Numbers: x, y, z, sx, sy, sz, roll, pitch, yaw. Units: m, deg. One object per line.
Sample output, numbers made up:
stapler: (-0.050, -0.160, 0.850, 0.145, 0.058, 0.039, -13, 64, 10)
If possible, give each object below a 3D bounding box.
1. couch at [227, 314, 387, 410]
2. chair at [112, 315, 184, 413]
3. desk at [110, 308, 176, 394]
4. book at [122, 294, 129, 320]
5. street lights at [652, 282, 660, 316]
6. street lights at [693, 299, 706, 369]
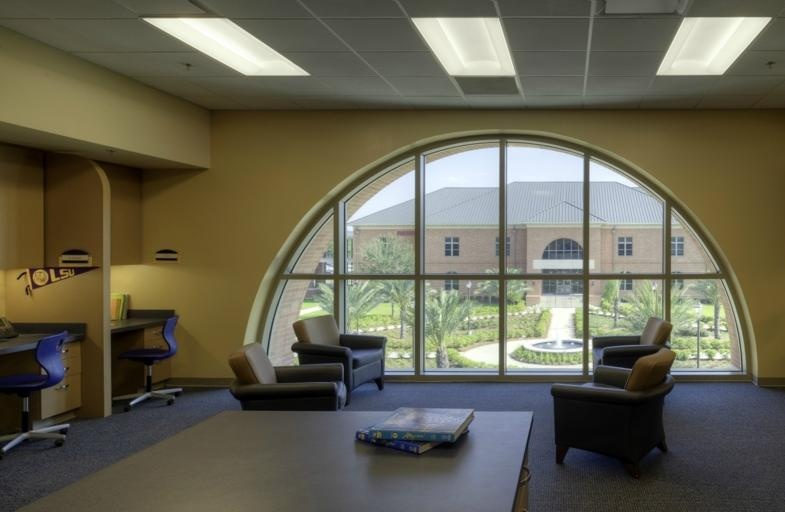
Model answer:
couch: (-1.091, 0.894, 7.174, 1.197, 1.031, 2.579, 0, 2, 10)
chair: (-3.544, 1.550, 8.116, 1.213, 1.390, 1.220, 1, -4, -18)
desk: (-3.814, 1.476, 8.407, 0.765, 1.158, 1.357, 0, 1, 1)
book: (-4.309, 0.813, 8.902, 0.083, 0.288, 0.319, 7, 14, -12)
street lights: (4.323, 0.696, 9.006, 0.167, 0.553, 0.058, 0, 9, 8)
street lights: (5.023, 1.280, 9.020, 0.113, 1.062, 0.150, 1, 9, 11)
